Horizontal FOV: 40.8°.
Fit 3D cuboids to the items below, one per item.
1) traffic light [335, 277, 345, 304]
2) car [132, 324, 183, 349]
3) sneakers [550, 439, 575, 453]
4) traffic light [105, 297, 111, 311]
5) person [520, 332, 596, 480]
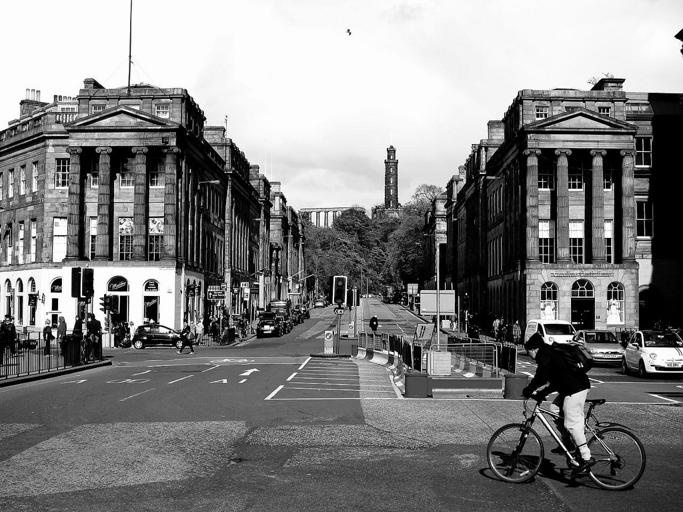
[{"bbox_3d":[-0.098,1.537,43.550,0.584,1.294,1.146,0,-4,3],"label":"traffic light"},{"bbox_3d":[-11.512,4.961,57.013,2.672,1.387,1.659,-2,-2,2],"label":"car"},{"bbox_3d":[4.177,3.558,17.264,0.387,0.287,0.228,0,-8,2],"label":"sneakers"},{"bbox_3d":[-12.011,2.363,47.216,0.399,0.646,0.140,-1,-12,13],"label":"traffic light"},{"bbox_3d":[4.117,2.709,17.093,1.142,2.515,0.524,0,-4,4],"label":"person"}]
